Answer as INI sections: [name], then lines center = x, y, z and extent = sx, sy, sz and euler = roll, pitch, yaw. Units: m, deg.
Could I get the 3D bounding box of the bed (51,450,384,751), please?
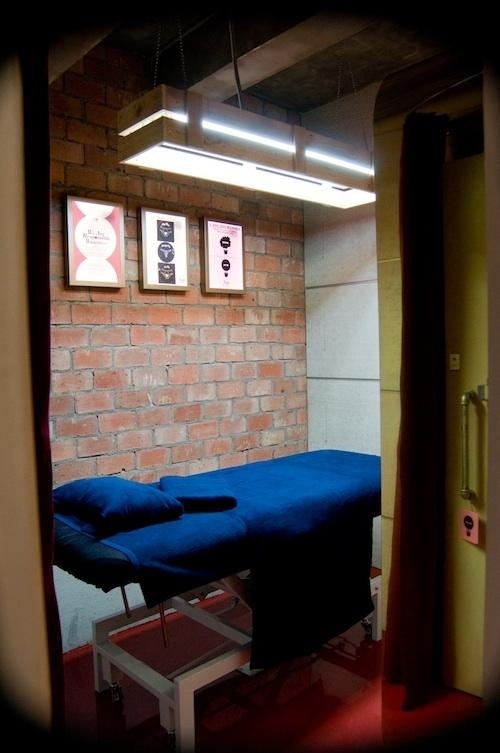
[bed]
center = -0.055, 0.709, 2.182
extent = 0.563, 0.661, 1.392
euler = -2, 2, 43

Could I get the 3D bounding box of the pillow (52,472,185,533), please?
[pillow]
center = -0.478, 0.421, 1.977
extent = 0.310, 0.145, 0.451
euler = -5, 2, -43

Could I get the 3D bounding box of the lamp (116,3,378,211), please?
[lamp]
center = 0.023, -0.823, 2.091
extent = 0.967, 0.276, 0.343
euler = -5, 2, -37
